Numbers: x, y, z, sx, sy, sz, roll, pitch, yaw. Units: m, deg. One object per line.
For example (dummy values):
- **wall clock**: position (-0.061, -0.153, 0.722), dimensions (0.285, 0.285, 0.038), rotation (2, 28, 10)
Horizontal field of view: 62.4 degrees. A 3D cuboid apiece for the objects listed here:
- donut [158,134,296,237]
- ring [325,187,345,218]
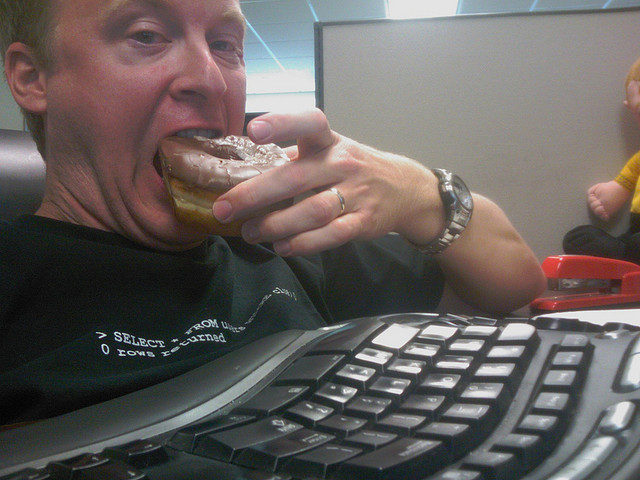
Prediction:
- **donut**: position (-0.122, -0.076, 0.685), dimensions (0.153, 0.099, 0.168), rotation (-7, 22, -14)
- **ring**: position (0.024, -0.050, 0.669), dimensions (0.009, 0.029, 0.035), rotation (-19, 0, -9)
